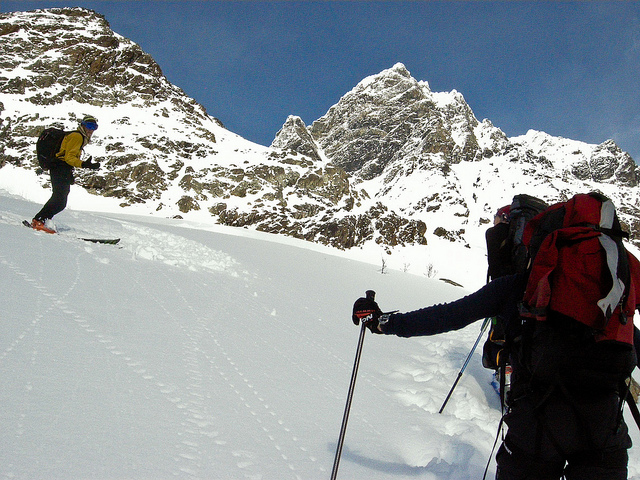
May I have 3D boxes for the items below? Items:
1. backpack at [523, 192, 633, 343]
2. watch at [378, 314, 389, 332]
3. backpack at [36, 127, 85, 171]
[{"bbox_3d":[1.975,0.195,4.571,0.810,0.968,0.299,15,-4,17],"label":"backpack"},{"bbox_3d":[0.530,0.685,4.858,0.041,0.113,0.081,9,-4,-37],"label":"watch"},{"bbox_3d":[-4.290,-1.524,9.761,0.731,0.727,0.459,9,19,-22],"label":"backpack"}]
